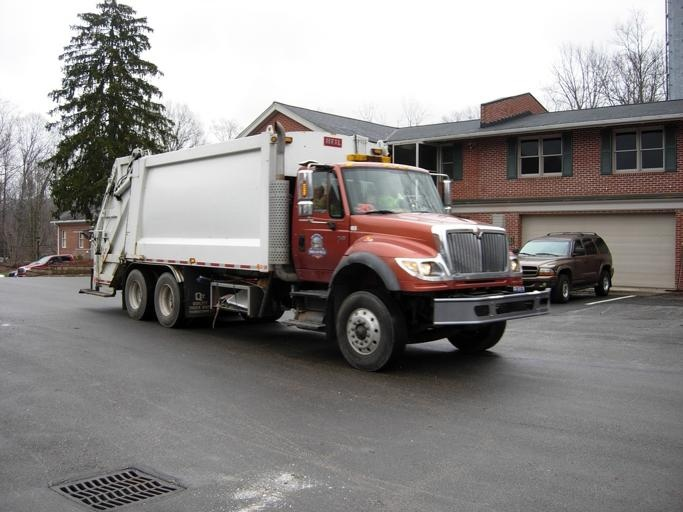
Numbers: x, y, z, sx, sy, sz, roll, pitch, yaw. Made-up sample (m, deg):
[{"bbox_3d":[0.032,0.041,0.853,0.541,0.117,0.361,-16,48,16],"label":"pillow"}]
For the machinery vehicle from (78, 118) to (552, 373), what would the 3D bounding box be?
[{"bbox_3d":[-1.673,-0.371,11.499,10.764,4.408,3.988,2,3,37],"label":"machinery vehicle"}]

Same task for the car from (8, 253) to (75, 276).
[{"bbox_3d":[-24.383,0.324,39.034,2.328,2.421,5.248,-3,-5,34],"label":"car"}]
